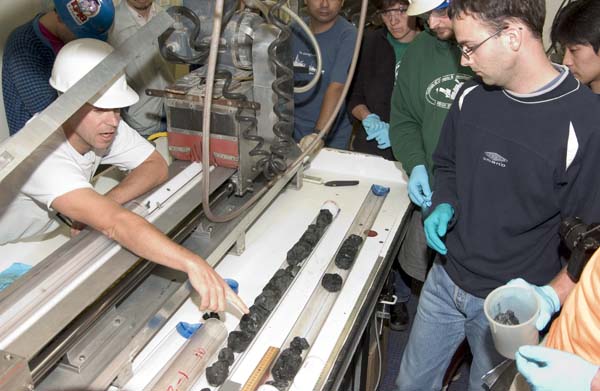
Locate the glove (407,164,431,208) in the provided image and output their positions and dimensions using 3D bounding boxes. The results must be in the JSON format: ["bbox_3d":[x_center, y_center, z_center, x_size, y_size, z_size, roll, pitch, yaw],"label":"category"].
[{"bbox_3d":[0.779,-0.065,2.659,0.098,0.237,0.161,17,6,-40],"label":"glove"}]

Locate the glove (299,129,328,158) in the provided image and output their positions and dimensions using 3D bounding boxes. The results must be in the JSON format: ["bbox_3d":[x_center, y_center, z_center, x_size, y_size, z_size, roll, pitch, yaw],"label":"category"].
[{"bbox_3d":[0.057,-0.374,3.025,0.130,0.070,0.249,18,34,13],"label":"glove"}]

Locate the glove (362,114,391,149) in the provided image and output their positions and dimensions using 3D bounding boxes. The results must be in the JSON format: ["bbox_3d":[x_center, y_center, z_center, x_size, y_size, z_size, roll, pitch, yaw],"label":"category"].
[{"bbox_3d":[0.583,-0.486,3.282,0.230,0.237,0.101,38,3,6],"label":"glove"}]

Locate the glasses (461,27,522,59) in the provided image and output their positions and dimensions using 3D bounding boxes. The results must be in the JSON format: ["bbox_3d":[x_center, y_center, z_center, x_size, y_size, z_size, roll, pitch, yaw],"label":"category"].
[{"bbox_3d":[0.817,-0.688,1.926,0.038,0.126,0.126,46,4,-12],"label":"glasses"}]

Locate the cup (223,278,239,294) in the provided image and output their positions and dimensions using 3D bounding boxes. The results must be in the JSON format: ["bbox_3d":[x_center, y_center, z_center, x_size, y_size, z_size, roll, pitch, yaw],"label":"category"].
[{"bbox_3d":[-0.360,0.471,2.208,0.084,0.057,0.091,1,25,-1],"label":"cup"}]

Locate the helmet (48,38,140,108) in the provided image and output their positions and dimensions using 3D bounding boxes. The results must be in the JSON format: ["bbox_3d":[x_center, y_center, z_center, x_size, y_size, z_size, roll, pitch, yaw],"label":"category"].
[{"bbox_3d":[-1.046,-0.612,2.180,0.390,0.322,0.252,-2,26,-34],"label":"helmet"}]

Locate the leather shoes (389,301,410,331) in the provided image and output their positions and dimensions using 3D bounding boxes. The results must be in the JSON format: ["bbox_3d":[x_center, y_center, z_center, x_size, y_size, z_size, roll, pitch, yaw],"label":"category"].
[{"bbox_3d":[0.780,0.977,3.414,0.132,0.145,0.367,2,35,7],"label":"leather shoes"}]
